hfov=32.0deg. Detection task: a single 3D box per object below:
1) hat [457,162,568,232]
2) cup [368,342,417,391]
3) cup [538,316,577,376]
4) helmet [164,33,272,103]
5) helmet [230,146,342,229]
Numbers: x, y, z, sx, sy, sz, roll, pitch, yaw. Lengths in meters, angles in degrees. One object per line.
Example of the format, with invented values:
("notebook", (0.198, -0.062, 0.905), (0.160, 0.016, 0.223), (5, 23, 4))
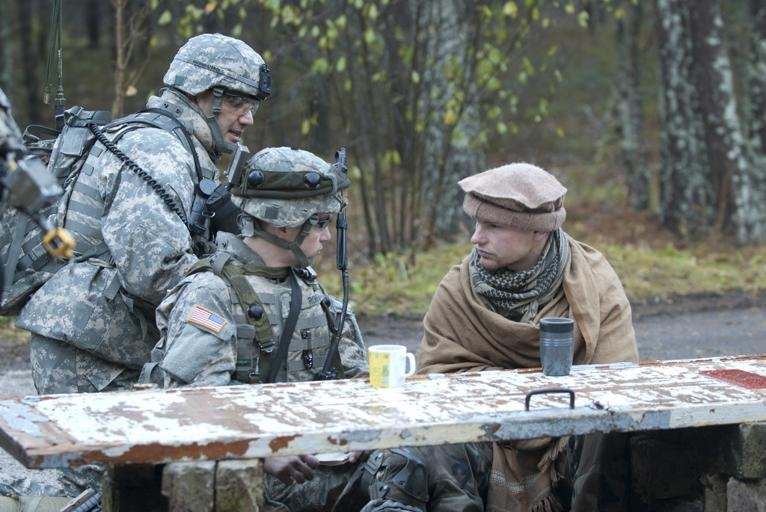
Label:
("hat", (1.039, -0.457, 10.410), (0.561, 0.296, 0.576), (12, 17, 9))
("cup", (0.065, 0.810, 9.745), (0.376, 0.310, 0.262), (14, 24, 39))
("cup", (1.278, 0.675, 9.861), (0.306, 0.555, 0.371), (0, 6, 12))
("helmet", (-1.317, -1.495, 10.867), (0.575, 0.409, 0.599), (19, 4, 0))
("helmet", (-0.690, -0.547, 10.108), (0.643, 0.465, 0.550), (-5, 13, -7))
